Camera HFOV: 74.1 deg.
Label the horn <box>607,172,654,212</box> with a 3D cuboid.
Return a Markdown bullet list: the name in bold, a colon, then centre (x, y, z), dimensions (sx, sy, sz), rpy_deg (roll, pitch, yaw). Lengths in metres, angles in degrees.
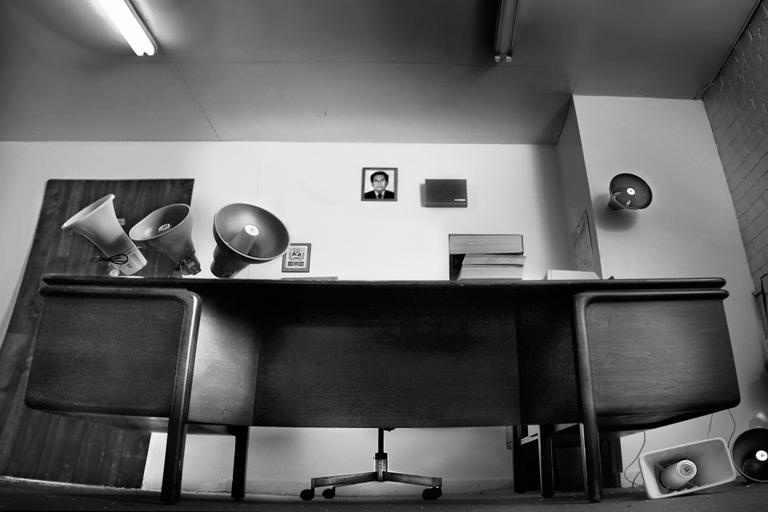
- **horn**: centre (1.933, -0.488, 3.984), dimensions (0.380, 0.307, 0.163), rpy_deg (1, -18, -1)

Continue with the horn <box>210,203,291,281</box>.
- **horn**: centre (-0.785, -0.105, 3.036), dimensions (0.458, 0.435, 0.397), rpy_deg (9, -2, -16)

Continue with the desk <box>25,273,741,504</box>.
- **desk**: centre (-0.024, 0.589, 2.305), dimensions (2.823, 0.857, 0.894), rpy_deg (0, -18, -1)

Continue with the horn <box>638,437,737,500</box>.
- **horn**: centre (1.157, 0.814, 1.974), dimensions (0.346, 0.203, 0.156), rpy_deg (0, -18, 0)

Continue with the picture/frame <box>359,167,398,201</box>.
- **picture/frame**: centre (-0.060, -0.668, 4.773), dimensions (0.315, 0.315, 0.032), rpy_deg (0, -18, 1)
